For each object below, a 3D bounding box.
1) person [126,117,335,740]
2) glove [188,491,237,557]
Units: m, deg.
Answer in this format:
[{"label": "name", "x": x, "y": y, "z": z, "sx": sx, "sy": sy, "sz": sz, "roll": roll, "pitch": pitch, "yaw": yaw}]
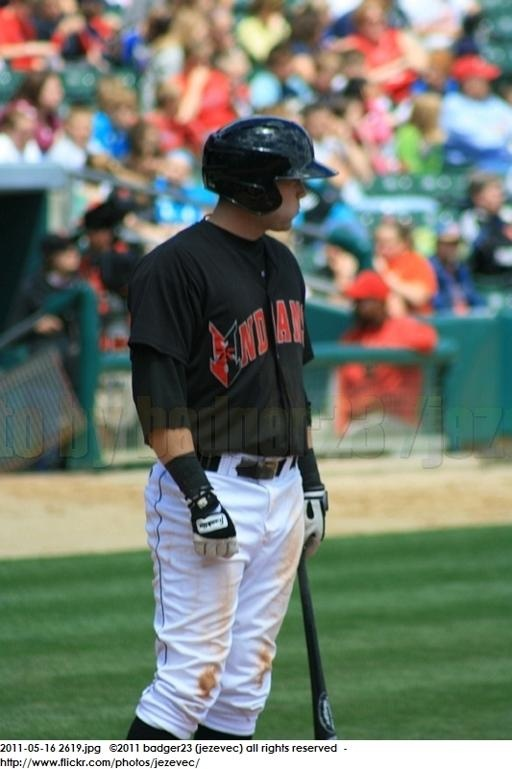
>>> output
[{"label": "person", "x": -0.114, "y": 0.126, "z": 3.834, "sx": 0.436, "sy": 1.796, "sz": 0.740, "roll": 5, "pitch": 11, "yaw": 23}, {"label": "glove", "x": -0.120, "y": 0.387, "z": 3.655, "sx": 0.128, "sy": 0.175, "sz": 0.068, "roll": -16, "pitch": 5, "yaw": -12}]
